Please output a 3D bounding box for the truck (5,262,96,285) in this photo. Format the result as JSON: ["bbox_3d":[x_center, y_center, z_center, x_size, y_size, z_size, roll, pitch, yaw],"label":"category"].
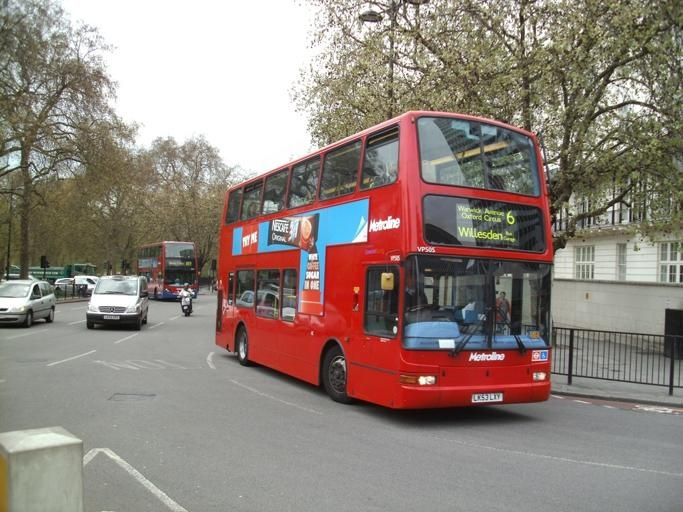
[{"bbox_3d":[-30.733,1.828,61.780,6.754,2.942,2.397,-1,-1,-3],"label":"truck"}]

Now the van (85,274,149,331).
[{"bbox_3d":[-9.170,1.877,24.094,2.057,2.256,2.611,3,-6,-14],"label":"van"}]

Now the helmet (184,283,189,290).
[{"bbox_3d":[-9.068,1.786,34.277,0.298,0.452,0.404,3,-12,-23],"label":"helmet"}]
